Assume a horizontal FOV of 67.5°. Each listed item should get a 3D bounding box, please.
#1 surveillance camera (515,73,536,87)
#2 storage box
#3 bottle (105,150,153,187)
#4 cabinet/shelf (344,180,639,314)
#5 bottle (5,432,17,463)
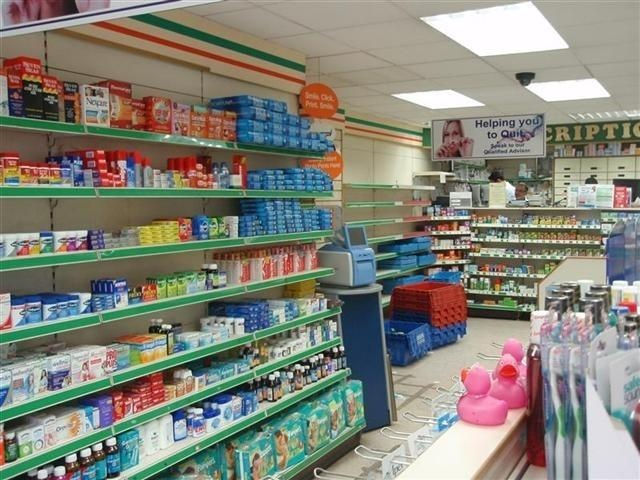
[{"bbox_3d":[2.652,-2.091,6.193,0.250,0.123,0.291,-1,2,21],"label":"surveillance camera"},{"bbox_3d":[1.615,1.311,7.991,0.940,0.976,1.831,2,9,33],"label":"storage box"},{"bbox_3d":[-1.328,-0.489,3.314,0.186,0.301,0.334,0,4,23],"label":"bottle"},{"bbox_3d":[2.779,0.103,8.192,3.313,1.358,1.276,0,0,30],"label":"cabinet/shelf"},{"bbox_3d":[-1.699,1.141,2.645,0.067,0.159,0.033,-4,3,-31],"label":"bottle"}]
